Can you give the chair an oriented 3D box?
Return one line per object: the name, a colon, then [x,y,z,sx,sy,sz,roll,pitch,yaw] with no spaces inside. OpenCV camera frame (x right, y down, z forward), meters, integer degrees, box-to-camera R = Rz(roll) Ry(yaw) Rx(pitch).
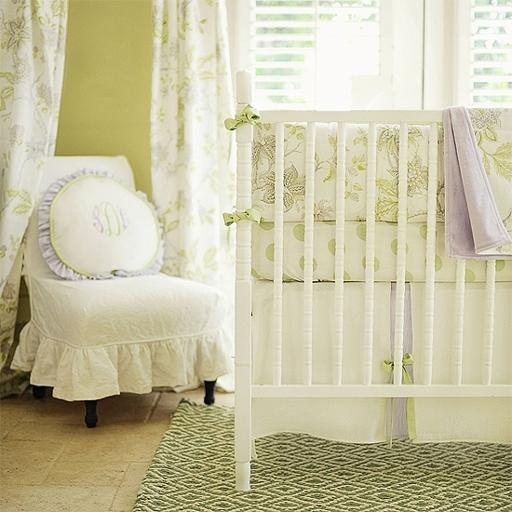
chair: [-0.363,0.050,2.261,0.762,1.007,0.795,-3,7,-38]
